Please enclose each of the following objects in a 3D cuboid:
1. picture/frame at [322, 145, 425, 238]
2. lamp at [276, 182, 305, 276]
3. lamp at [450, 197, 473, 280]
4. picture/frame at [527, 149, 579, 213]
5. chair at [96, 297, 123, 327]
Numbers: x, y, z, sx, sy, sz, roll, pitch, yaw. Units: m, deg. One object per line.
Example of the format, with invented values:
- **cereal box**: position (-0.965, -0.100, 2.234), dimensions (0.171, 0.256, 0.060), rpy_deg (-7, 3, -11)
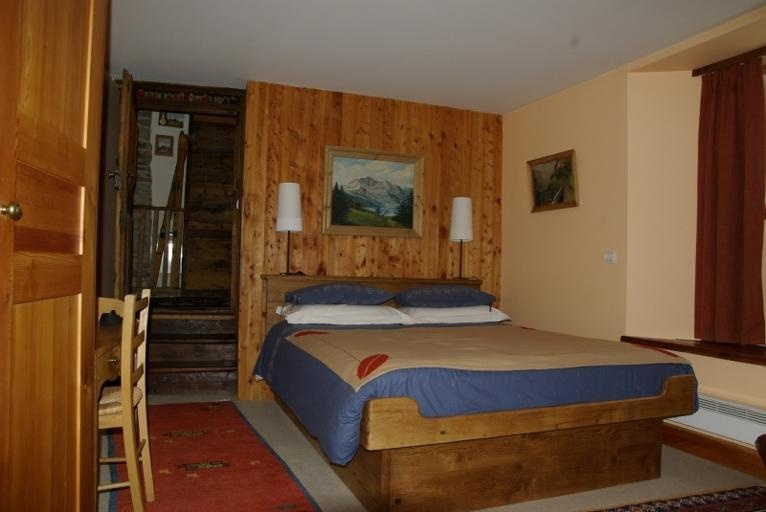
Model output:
- **picture/frame**: position (-0.144, -0.643, 5.564), dimensions (0.947, 0.778, 0.077), rpy_deg (2, -3, -19)
- **lamp**: position (-0.879, -0.254, 5.157), dimensions (0.241, 0.856, 0.366), rpy_deg (0, 4, -10)
- **lamp**: position (0.801, -0.182, 5.689), dimensions (0.218, 0.835, 0.390), rpy_deg (2, 4, 7)
- **picture/frame**: position (1.656, -0.716, 5.365), dimensions (0.031, 0.534, 0.574), rpy_deg (-5, 1, -31)
- **chair**: position (-1.644, 0.343, 3.313), dimensions (0.216, 0.133, 0.214), rpy_deg (-1, 1, -39)
